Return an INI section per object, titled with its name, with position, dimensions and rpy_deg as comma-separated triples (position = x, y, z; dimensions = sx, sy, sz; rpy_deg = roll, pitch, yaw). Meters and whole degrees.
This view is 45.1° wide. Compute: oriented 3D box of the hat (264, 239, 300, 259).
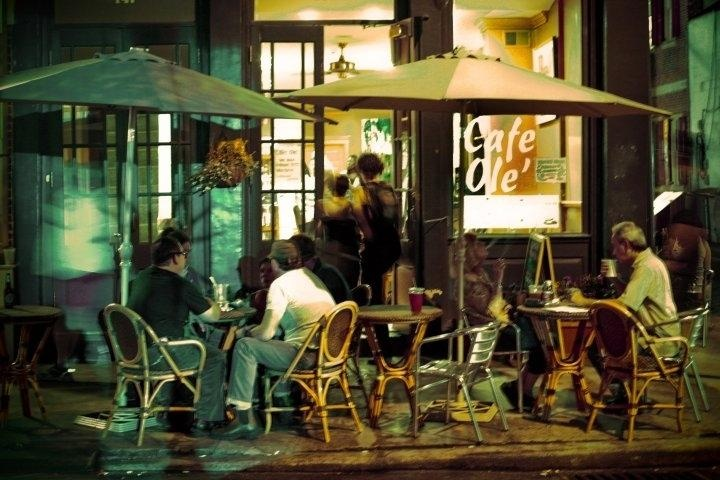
[hat]
position = -0.858, 0.096, 9.729
dimensions = 0.293, 0.142, 0.230
rpy_deg = -6, 8, 30

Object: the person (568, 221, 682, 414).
[person]
position = 2.880, 0.739, 9.615
dimensions = 1.174, 1.802, 0.865
rpy_deg = 4, 4, -7

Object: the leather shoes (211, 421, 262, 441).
[leather shoes]
position = -1.294, 1.986, 9.150
dimensions = 0.469, 0.195, 0.185
rpy_deg = 3, -6, 0

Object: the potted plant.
[potted plant]
position = -1.862, -1.007, 11.799
dimensions = 1.242, 1.224, 0.540
rpy_deg = 1, -14, 1

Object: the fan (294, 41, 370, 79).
[fan]
position = -0.300, -3.120, 15.248
dimensions = 0.652, 0.390, 0.650
rpy_deg = 0, 0, 9
